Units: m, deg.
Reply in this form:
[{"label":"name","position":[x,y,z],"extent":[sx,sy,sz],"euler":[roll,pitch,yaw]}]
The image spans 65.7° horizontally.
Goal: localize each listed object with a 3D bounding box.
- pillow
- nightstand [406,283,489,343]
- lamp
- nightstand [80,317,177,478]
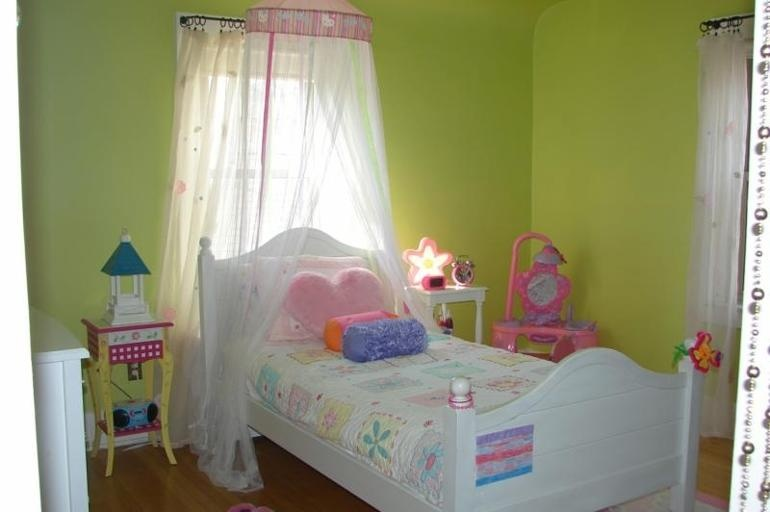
[{"label":"pillow","position":[-0.229,0.393,4.070],"extent":[0.774,0.365,0.770],"euler":[2,15,-43]},{"label":"nightstand","position":[0.543,0.474,5.196],"extent":[0.649,0.636,0.497],"euler":[-3,4,-39]},{"label":"lamp","position":[1.329,0.181,5.303],"extent":[0.588,0.911,0.490],"euler":[-9,20,-16]},{"label":"nightstand","position":[-1.722,0.885,4.056],"extent":[0.558,0.967,0.636],"euler":[-3,9,-21]}]
